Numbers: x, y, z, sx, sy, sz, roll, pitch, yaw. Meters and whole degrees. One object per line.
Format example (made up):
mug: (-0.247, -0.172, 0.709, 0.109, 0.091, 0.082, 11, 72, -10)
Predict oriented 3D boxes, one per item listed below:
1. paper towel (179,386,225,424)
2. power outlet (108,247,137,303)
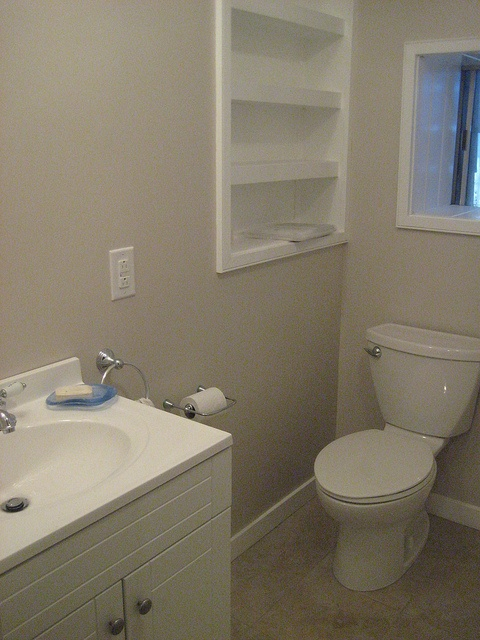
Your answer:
paper towel: (-0.094, 0.209, 1.393, 0.096, 0.084, 0.103, 18, 21, 39)
power outlet: (-0.287, -0.111, 1.249, 0.025, 0.151, 0.107, 9, 16, 31)
